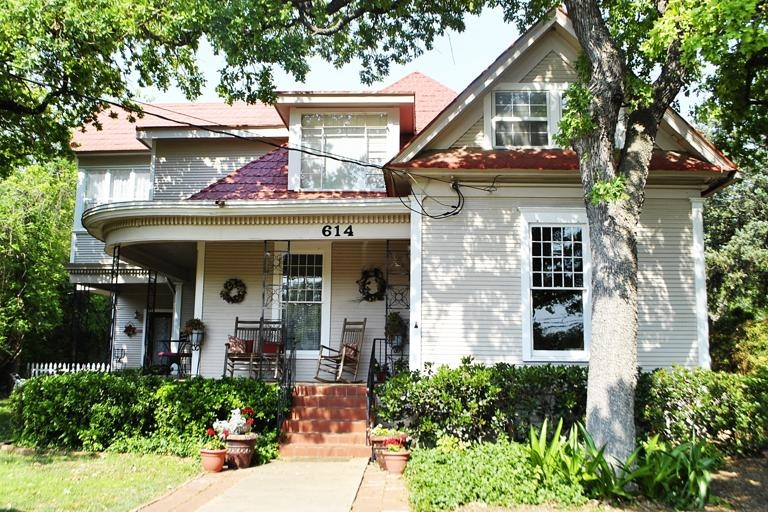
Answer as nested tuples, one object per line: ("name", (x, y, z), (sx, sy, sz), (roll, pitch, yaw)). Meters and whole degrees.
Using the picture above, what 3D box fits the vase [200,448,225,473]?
("vase", (-3.610, 4.288, 14.093), (0.461, 0.347, 0.477), (7, -23, -15))

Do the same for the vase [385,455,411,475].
("vase", (0.246, 4.375, 14.160), (0.441, 0.351, 0.422), (3, -19, -3))

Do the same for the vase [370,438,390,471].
("vase", (-0.151, 4.372, 14.786), (0.501, 0.606, 0.588), (3, -13, -15))

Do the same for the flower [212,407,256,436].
("flower", (-3.270, 3.676, 14.822), (0.666, 0.372, 0.689), (1, -1, -2))

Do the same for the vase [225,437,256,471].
("vase", (-3.121, 4.234, 14.428), (0.622, 0.513, 0.646), (-4, -15, 9))

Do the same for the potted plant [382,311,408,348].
("potted plant", (0.324, 2.053, 18.561), (0.791, 1.231, 0.736), (9, -11, -5))

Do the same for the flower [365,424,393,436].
("flower", (-0.151, 3.956, 15.040), (0.351, 0.123, 0.360), (-5, -8, 40))

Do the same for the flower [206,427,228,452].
("flower", (-3.663, 3.997, 14.613), (0.455, 0.330, 0.427), (4, -4, 24))
